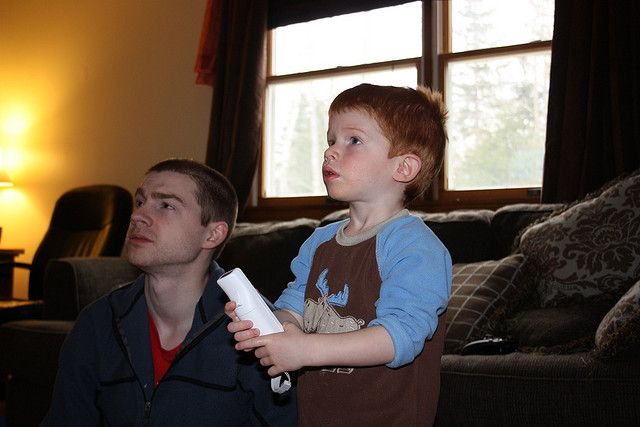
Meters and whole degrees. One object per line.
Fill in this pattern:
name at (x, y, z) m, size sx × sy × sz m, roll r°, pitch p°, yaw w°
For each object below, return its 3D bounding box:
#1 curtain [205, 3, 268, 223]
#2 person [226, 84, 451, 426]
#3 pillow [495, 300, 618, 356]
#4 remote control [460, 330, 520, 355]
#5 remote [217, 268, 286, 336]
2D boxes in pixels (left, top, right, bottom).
curtain at (-0.612, -0.764, 3.971) m, size 0.440 × 1.647 × 0.296 m, roll 1°, pitch 1°, yaw -13°
person at (0.118, 0.131, 1.863) m, size 0.654 × 1.203 × 0.438 m, roll 1°, pitch 1°, yaw 10°
pillow at (1.093, 0.439, 2.469) m, size 0.476 × 0.140 × 0.516 m, roll -17°, pitch 15°, yaw 32°
remote control at (0.750, 0.565, 2.311) m, size 0.158 × 0.054 × 0.123 m, roll -11°, pitch -9°, yaw 12°
remote at (-0.158, 0.290, 1.715) m, size 0.095 × 0.081 × 0.295 m, roll 32°, pitch -36°, yaw 0°
